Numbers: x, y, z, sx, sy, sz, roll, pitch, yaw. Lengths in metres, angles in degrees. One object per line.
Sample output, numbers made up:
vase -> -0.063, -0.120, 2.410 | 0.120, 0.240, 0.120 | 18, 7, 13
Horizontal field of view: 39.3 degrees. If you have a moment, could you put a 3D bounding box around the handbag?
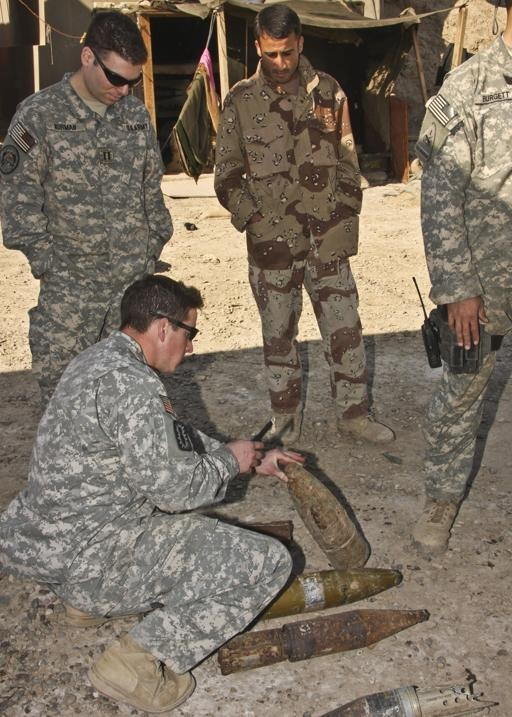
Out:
handbag -> 0.765, -0.070, 2.713 | 0.215, 0.227, 0.094 | -2, 25, 11

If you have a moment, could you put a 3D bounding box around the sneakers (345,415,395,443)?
sneakers -> 0.590, 0.362, 3.756 | 0.240, 0.090, 0.129 | 12, 32, 34

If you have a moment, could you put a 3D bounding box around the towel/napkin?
towel/napkin -> -0.715, -2.975, 8.877 | 0.372, 1.537, 0.756 | 9, 35, 26

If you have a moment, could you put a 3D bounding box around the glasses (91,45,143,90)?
glasses -> -0.553, -1.225, 3.010 | 0.112, 0.167, 0.219 | 12, 33, 29

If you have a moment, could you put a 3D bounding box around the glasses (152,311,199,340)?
glasses -> -0.256, -0.112, 2.338 | 0.102, 0.027, 0.093 | 28, -6, -3

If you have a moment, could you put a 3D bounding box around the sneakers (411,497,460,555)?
sneakers -> 0.723, 0.676, 2.921 | 0.133, 0.047, 0.251 | 2, 27, 18
